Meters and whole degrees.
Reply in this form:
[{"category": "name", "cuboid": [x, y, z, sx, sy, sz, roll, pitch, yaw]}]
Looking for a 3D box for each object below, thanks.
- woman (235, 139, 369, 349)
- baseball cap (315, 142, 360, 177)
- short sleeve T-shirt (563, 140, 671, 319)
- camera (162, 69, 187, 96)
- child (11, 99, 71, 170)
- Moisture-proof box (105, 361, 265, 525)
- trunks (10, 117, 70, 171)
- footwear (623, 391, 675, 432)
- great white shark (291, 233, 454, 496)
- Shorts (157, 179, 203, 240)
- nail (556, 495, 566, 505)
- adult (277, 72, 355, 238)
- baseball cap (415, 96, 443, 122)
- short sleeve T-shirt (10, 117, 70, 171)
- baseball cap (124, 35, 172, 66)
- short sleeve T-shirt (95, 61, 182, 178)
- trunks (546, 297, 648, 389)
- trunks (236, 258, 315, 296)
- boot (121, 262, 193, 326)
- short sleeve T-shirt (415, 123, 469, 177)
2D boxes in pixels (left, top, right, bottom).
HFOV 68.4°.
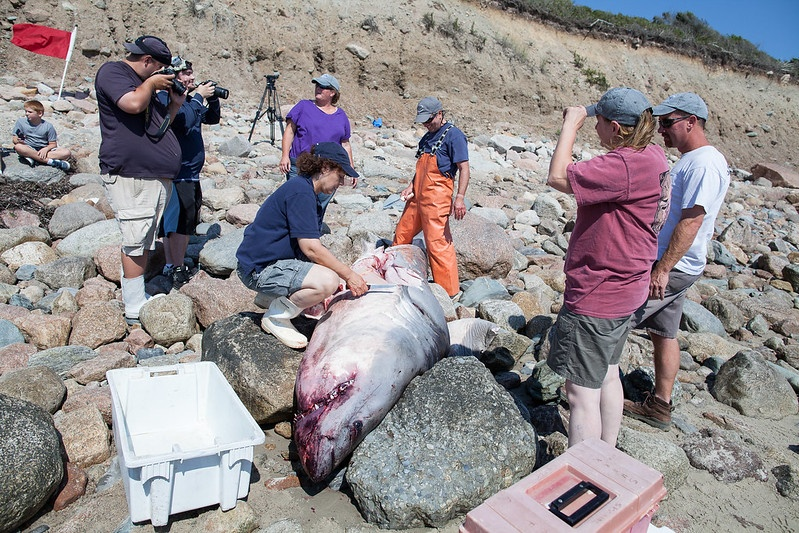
[{"category": "woman", "cuboid": [-0.838, -0.197, 5.372, 1.230, 1.722, 1.196, 8, 11, -2]}, {"category": "baseball cap", "cuboid": [-0.551, -0.928, 5.051, 0.367, 0.200, 0.232, 26, 7, -29]}, {"category": "short sleeve T-shirt", "cuboid": [1.611, -0.234, 4.330, 0.639, 1.067, 1.108, 15, 24, 33]}, {"category": "camera", "cuboid": [-2.123, -1.737, 5.580, 0.084, 0.204, 0.186, -27, 52, -9]}, {"category": "child", "cuboid": [-5.172, -1.889, 8.457, 0.886, 0.887, 0.634, 18, 20, 23]}, {"category": "Moisture-proof box", "cuboid": [-1.644, 1.284, 4.484, 0.903, 0.710, 1.290, -7, 42, -30]}, {"category": "trunks", "cuboid": [-5.237, -1.719, 8.624, 0.759, 0.950, 0.795, -8, 22, -37]}, {"category": "footwear", "cuboid": [2.231, 1.266, 5.302, 0.184, 0.292, 0.513, -4, 9, -31]}, {"category": "great white shark", "cuboid": [-0.238, 0.671, 4.998, 0.933, 0.649, 1.920, 32, 30, 2]}, {"category": "Shorts", "cuboid": [-2.331, -0.594, 6.200, 0.340, 0.578, 0.582, 22, -5, -7]}, {"category": "nail", "cuboid": [1.036, 1.500, 3.756, 0.024, 0.014, 0.048, 26, 40, 25]}, {"category": "adult", "cuboid": [-0.975, -1.243, 7.048, 0.860, 2.027, 0.628, 5, 10, -16]}, {"category": "baseball cap", "cuboid": [0.312, -1.705, 6.532, 0.331, 0.192, 0.217, -45, 45, -19]}, {"category": "short sleeve T-shirt", "cuboid": [-5.204, -1.706, 8.657, 0.759, 0.950, 0.795, -8, 22, -37]}, {"category": "baseball cap", "cuboid": [-2.387, -2.016, 5.607, 0.375, 0.195, 0.261, 14, 26, -40]}, {"category": "short sleeve T-shirt", "cuboid": [-2.610, -1.481, 5.989, 0.734, 1.165, 1.218, 0, 7, -7]}, {"category": "trunks", "cuboid": [1.547, 0.498, 4.602, 0.716, 0.698, 0.479, -15, 26, -20]}, {"category": "trunks", "cuboid": [-1.078, 0.063, 5.069, 0.462, 0.184, 0.374, -15, 7, 0]}, {"category": "boot", "cuboid": [-2.521, 0.262, 6.106, 0.333, 0.681, 0.709, 13, 28, 35]}, {"category": "short sleeve T-shirt", "cuboid": [0.470, -1.317, 6.660, 0.399, 0.604, 0.728, -11, 18, -37]}]
